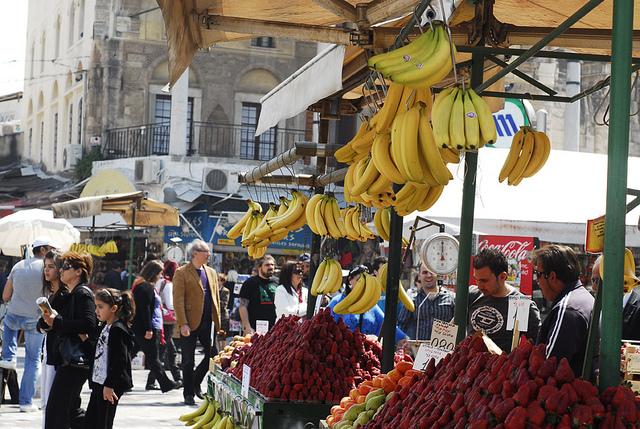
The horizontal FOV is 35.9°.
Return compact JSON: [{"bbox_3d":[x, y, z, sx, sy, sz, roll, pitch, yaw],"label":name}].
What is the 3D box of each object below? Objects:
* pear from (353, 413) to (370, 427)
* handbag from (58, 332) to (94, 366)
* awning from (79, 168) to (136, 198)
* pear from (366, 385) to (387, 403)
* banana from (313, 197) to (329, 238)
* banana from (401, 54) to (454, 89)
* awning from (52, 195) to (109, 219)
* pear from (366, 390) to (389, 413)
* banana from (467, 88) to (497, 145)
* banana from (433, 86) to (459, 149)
[{"bbox_3d":[0.406,1.990,9.583,0.164,0.122,0.116,3,-4,-9],"label":"pear"},{"bbox_3d":[-2.996,1.652,12.064,0.240,0.318,0.135,-29,-5,-29],"label":"handbag"},{"bbox_3d":[-5.673,-0.867,26.086,0.466,0.727,2.268,5,-5,-37],"label":"awning"},{"bbox_3d":[0.563,1.770,9.805,0.217,0.076,0.084,-37,-36,-13],"label":"pear"},{"bbox_3d":[0.008,0.069,11.126,0.161,0.543,0.098,10,-19,-13],"label":"banana"},{"bbox_3d":[0.992,-1.251,8.923,0.531,0.218,0.103,-28,-19,-3],"label":"banana"},{"bbox_3d":[-4.906,-0.148,20.074,0.566,0.431,1.572,5,-5,-40],"label":"awning"},{"bbox_3d":[0.561,1.832,9.740,0.083,0.106,0.291,23,54,41],"label":"pear"},{"bbox_3d":[1.482,-0.900,9.042,0.154,0.548,0.133,-10,-7,12],"label":"banana"},{"bbox_3d":[1.148,-0.855,8.948,0.181,0.469,0.172,3,1,32],"label":"banana"}]
